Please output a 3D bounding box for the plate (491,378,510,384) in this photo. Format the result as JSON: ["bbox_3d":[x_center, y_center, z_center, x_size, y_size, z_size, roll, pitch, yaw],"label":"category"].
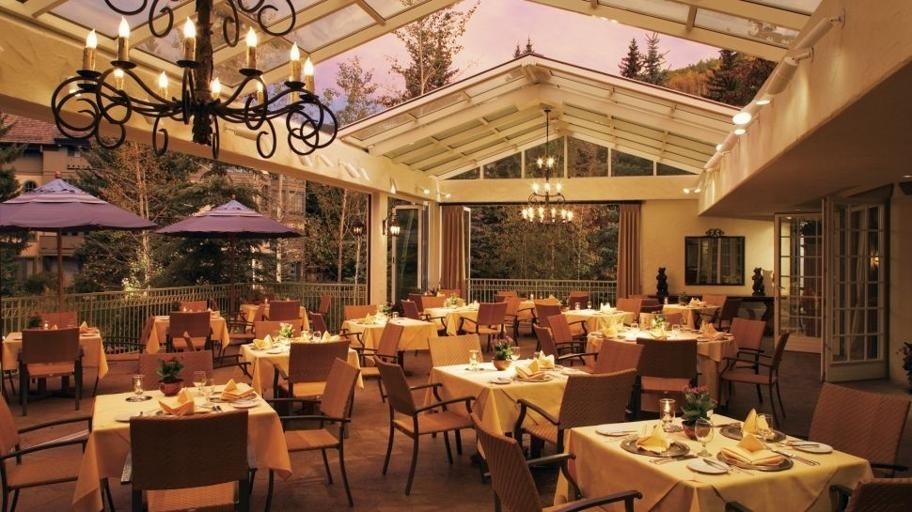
[{"bbox_3d":[0.573,1.547,8.365,0.218,0.066,0.198,-2,-7,7],"label":"plate"}]

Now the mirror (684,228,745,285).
[{"bbox_3d":[7.085,0.064,18.210,1.644,1.580,0.059,1,3,8],"label":"mirror"}]

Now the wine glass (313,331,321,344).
[{"bbox_3d":[-2.078,1.229,10.114,0.153,0.136,0.145,2,-4,-3],"label":"wine glass"}]

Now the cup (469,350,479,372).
[{"bbox_3d":[0.247,1.380,8.873,0.133,0.239,0.203,-1,-7,1],"label":"cup"}]

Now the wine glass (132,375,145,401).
[{"bbox_3d":[-3.768,1.564,7.995,0.126,0.284,0.237,2,-7,-25],"label":"wine glass"}]

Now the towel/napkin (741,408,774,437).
[{"bbox_3d":[3.207,1.788,7.231,0.347,0.328,0.269,-2,-3,35],"label":"towel/napkin"}]

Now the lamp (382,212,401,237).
[{"bbox_3d":[-1.556,-0.763,16.199,0.333,0.617,0.689,-1,-7,3],"label":"lamp"}]

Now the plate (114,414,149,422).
[{"bbox_3d":[-3.483,1.745,7.227,0.189,0.028,0.182,1,0,11],"label":"plate"}]

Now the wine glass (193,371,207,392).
[{"bbox_3d":[-3.059,1.506,8.066,0.154,0.236,0.208,1,-7,-20],"label":"wine glass"}]

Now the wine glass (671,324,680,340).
[{"bbox_3d":[3.638,1.270,11.113,0.110,0.152,0.104,4,-2,-20],"label":"wine glass"}]
